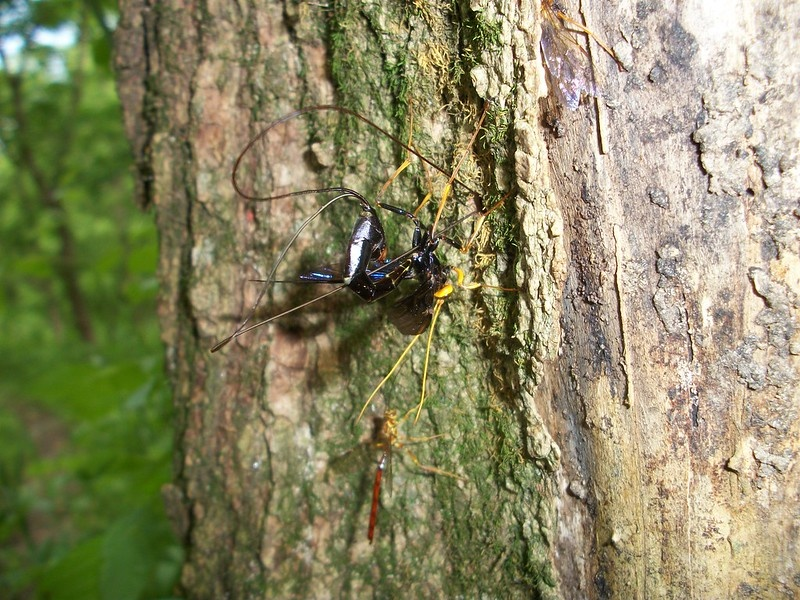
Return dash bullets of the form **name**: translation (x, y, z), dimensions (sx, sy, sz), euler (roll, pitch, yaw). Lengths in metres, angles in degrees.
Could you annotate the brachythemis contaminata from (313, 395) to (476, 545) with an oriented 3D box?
- **brachythemis contaminata**: translation (-0.091, 1.034, 4.881), dimensions (0.619, 0.806, 0.196), euler (0, -18, 25)
